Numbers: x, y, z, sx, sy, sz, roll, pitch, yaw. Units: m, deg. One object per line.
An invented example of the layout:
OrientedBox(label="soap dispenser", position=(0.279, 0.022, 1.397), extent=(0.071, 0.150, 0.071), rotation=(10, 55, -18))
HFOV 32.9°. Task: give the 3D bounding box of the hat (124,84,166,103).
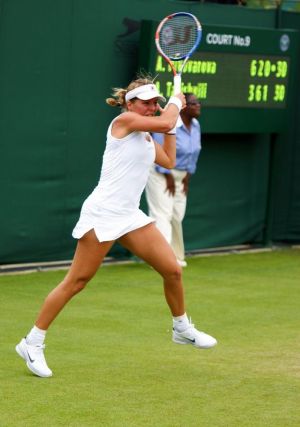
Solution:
OrientedBox(label="hat", position=(-0.034, -0.613, 2.613), extent=(0.102, 0.053, 0.155), rotation=(-7, 9, -38))

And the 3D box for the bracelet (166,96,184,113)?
OrientedBox(label="bracelet", position=(0.139, -0.599, 2.719), extent=(0.097, 0.065, 0.085), rotation=(26, 49, 14))

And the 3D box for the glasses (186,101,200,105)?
OrientedBox(label="glasses", position=(0.451, -1.165, 5.351), extent=(0.082, 0.024, 0.083), rotation=(0, -2, -40))

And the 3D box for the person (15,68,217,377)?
OrientedBox(label="person", position=(-0.125, 0.105, 2.700), extent=(1.030, 1.524, 0.471), rotation=(-1, 5, -27))

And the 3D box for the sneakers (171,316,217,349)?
OrientedBox(label="sneakers", position=(0.238, 0.698, 3.021), extent=(0.353, 0.186, 0.110), rotation=(6, 18, 4))
